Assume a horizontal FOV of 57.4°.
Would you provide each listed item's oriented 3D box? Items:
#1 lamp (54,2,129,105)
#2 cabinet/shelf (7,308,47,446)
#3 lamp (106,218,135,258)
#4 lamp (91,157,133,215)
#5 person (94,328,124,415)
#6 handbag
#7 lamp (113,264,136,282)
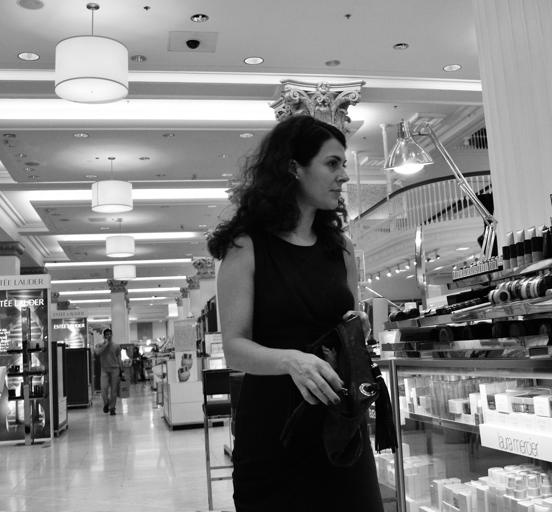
[{"bbox_3d":[-2.109,-2.348,5.998,0.823,0.935,0.838,-1,-16,-6],"label":"lamp"},{"bbox_3d":[-4.483,2.101,8.928,0.757,2.357,0.567,-6,-11,17],"label":"cabinet/shelf"},{"bbox_3d":[-4.347,-0.540,14.008,0.813,1.175,0.822,5,-20,-22],"label":"lamp"},{"bbox_3d":[-3.075,-1.122,9.383,0.716,0.500,0.529,-5,-11,10],"label":"lamp"},{"bbox_3d":[-4.322,2.961,12.965,0.642,2.126,0.815,-8,-17,-1],"label":"person"},{"bbox_3d":[0.160,0.273,0.992,0.151,0.309,0.278,-4,-11,7],"label":"handbag"},{"bbox_3d":[-5.341,0.567,17.500,0.696,0.441,0.705,-2,-5,5],"label":"lamp"}]
